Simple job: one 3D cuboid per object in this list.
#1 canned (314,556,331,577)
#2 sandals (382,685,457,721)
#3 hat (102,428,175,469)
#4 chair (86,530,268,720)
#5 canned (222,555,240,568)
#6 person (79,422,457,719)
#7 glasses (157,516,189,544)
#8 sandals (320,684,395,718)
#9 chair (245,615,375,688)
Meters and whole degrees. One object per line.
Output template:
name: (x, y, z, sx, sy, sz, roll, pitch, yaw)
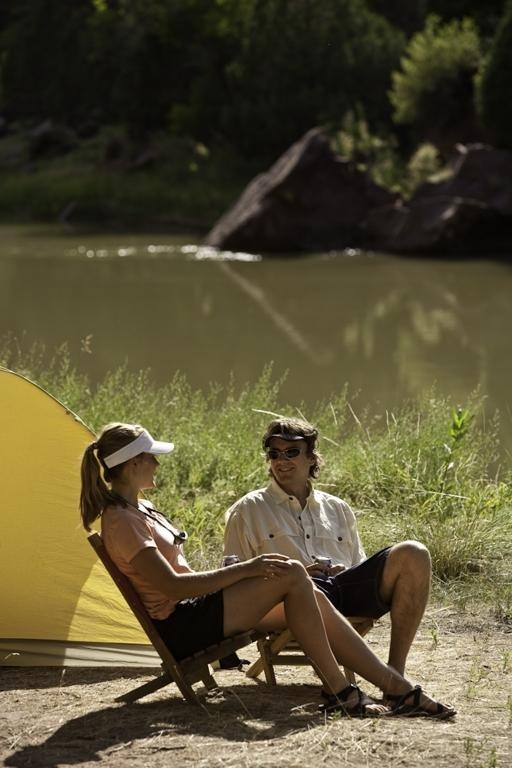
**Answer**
canned: (0.250, 0.652, 3.035, 0.072, 0.065, 0.045, 3, 8, 36)
sandals: (0.488, 0.939, 2.518, 0.221, 0.073, 0.082, 2, 1, 13)
hat: (-0.359, 0.207, 2.637, 0.194, 0.067, 0.116, -16, 1, -3)
chair: (-0.268, 0.754, 2.777, 0.733, 0.639, 0.412, 0, 6, -3)
canned: (-0.080, 0.601, 2.861, 0.054, 0.045, 0.050, 1, -24, -9)
person: (0.038, 0.612, 2.712, 1.221, 0.847, 0.420, 2, -2, -5)
glasses: (-0.285, 0.504, 2.801, 0.106, 0.051, 0.076, 39, 10, -1)
sandals: (0.301, 0.920, 2.481, 0.174, 0.059, 0.087, 1, 4, -16)
chair: (0.225, 0.924, 3.006, 0.364, 0.251, 0.419, 5, -4, 11)
